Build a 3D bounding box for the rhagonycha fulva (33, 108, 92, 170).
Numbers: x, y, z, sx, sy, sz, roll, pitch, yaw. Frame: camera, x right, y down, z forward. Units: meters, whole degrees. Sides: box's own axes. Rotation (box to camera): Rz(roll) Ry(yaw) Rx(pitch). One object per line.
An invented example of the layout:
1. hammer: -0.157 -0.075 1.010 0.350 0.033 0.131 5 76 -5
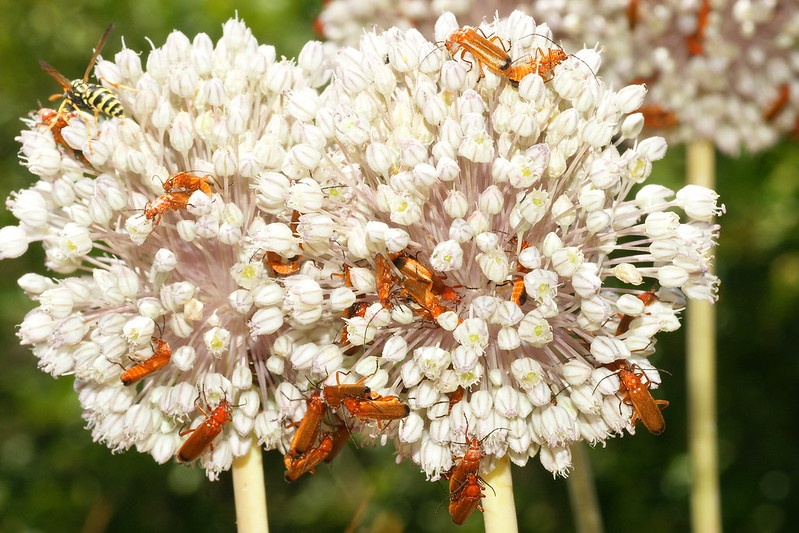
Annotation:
1. rhagonycha fulva: -1.473 -0.584 3.230 0.276 0.082 0.216 49 117 7
